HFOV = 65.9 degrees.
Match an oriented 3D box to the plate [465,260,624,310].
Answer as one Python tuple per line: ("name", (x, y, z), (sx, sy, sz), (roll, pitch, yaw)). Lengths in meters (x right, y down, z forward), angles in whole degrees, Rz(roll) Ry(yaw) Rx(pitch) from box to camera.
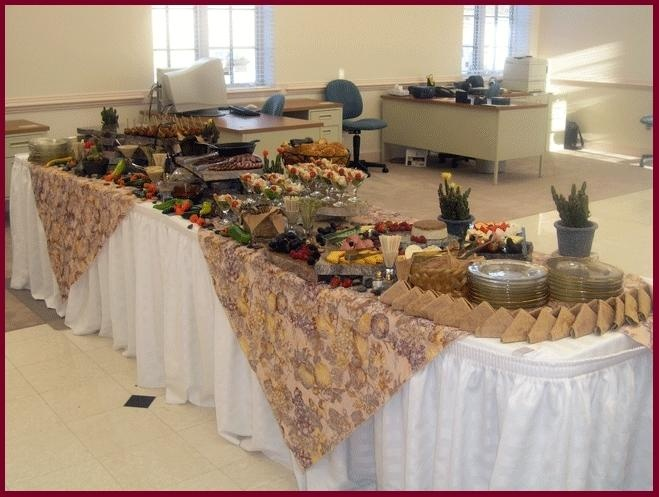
("plate", (0.723, 0.115, 1.753), (0.353, 0.084, 0.238), (2, 14, 12))

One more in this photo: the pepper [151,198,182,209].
("pepper", (-0.889, -0.242, 2.773), (0.073, 0.027, 0.112), (9, 18, 21))

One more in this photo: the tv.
("tv", (-1.436, -1.764, 5.567), (0.648, 0.570, 0.655), (-14, 25, -19))

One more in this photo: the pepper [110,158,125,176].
("pepper", (-1.406, -0.539, 3.381), (0.055, 0.035, 0.145), (-19, 38, 26))

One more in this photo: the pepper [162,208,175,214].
("pepper", (-0.859, -0.201, 2.699), (0.042, 0.015, 0.025), (-6, 57, -23))

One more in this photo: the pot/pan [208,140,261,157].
("pot/pan", (-0.580, -0.633, 3.064), (0.232, 0.064, 0.127), (-12, 22, -18))

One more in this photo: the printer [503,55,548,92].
("printer", (3.217, -2.847, 8.541), (0.672, 0.662, 0.672), (-15, 18, -41))

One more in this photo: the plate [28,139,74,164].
("plate", (-2.057, -0.723, 3.782), (0.248, 0.116, 0.253), (1, 16, -3))
